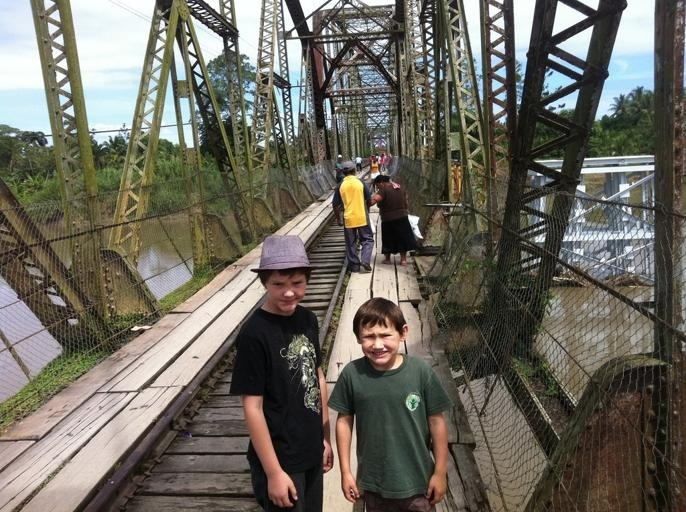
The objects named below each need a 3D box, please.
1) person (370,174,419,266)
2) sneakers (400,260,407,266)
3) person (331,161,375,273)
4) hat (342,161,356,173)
[{"bbox_3d":[1.060,-0.719,9.385,0.828,1.814,0.918,1,12,10],"label":"person"},{"bbox_3d":[1.232,0.141,9.416,0.066,0.102,0.219,-2,-8,3],"label":"sneakers"},{"bbox_3d":[0.195,-0.739,8.991,0.738,2.183,0.999,0,12,8],"label":"person"},{"bbox_3d":[0.108,-1.679,8.717,0.246,0.219,0.353,-2,13,0],"label":"hat"}]
